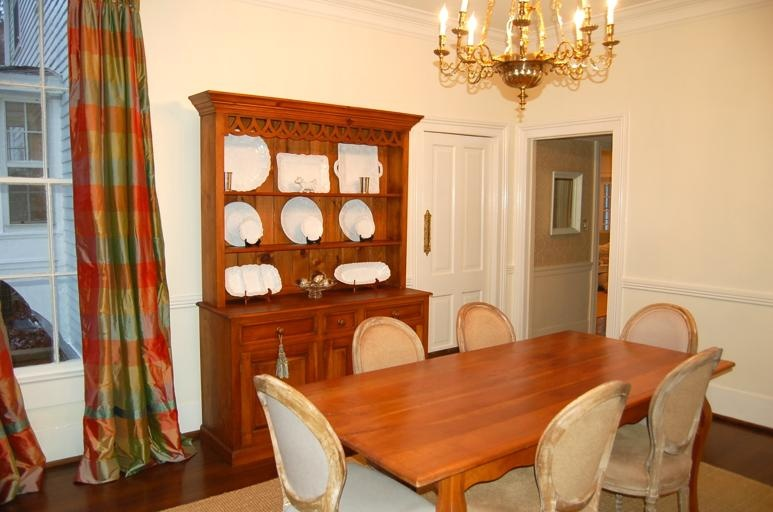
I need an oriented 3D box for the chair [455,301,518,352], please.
[{"bbox_3d":[0.753,0.488,4.304,0.398,0.541,0.407,-10,11,-23],"label":"chair"}]
